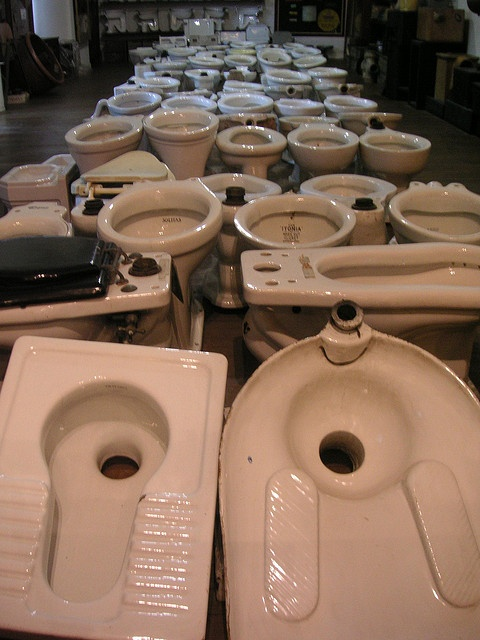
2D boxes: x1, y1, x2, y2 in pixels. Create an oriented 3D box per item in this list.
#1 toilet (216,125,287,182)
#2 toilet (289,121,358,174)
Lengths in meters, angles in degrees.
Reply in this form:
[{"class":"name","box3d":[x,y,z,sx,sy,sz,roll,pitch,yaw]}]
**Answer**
[{"class":"toilet","box3d":[0.047,-0.832,2.371,0.279,0.324,0.359,-5,40,-6]},{"class":"toilet","box3d":[0.391,-0.789,2.413,0.319,0.227,0.334,-3,37,-1]}]
